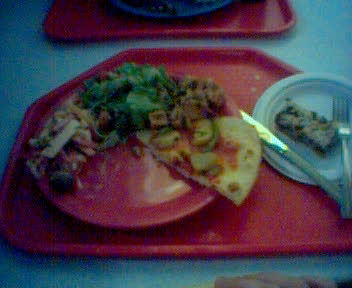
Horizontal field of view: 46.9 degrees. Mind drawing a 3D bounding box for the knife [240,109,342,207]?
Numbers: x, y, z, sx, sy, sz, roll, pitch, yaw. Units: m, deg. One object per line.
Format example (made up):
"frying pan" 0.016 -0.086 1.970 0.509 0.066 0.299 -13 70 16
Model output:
"knife" 0.345 0.054 1.199 0.049 0.030 0.339 -40 74 5
